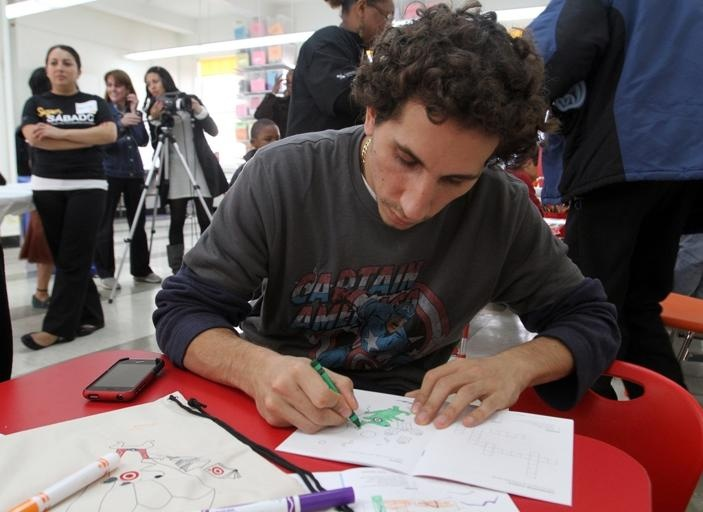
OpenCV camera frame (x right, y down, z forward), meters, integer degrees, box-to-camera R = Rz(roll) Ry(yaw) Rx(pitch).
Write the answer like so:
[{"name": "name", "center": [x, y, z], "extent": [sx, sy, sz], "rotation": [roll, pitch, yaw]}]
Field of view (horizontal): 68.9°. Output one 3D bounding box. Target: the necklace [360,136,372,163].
[{"name": "necklace", "center": [0.032, -0.271, 1.312], "extent": [0.018, 0.056, 0.047], "rotation": [14, 10, 9]}]

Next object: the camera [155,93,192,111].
[{"name": "camera", "center": [-1.412, -1.185, 4.026], "extent": [0.299, 0.161, 0.124], "rotation": [0, 0, 33]}]

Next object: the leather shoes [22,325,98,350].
[{"name": "leather shoes", "center": [-1.699, 0.478, 3.049], "extent": [0.120, 0.057, 0.455], "rotation": [10, 10, 38]}]

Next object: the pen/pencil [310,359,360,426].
[{"name": "pen/pencil", "center": [-0.040, 0.300, 1.124], "extent": [0.150, 0.018, 0.025], "rotation": [50, 20, 14]}]
